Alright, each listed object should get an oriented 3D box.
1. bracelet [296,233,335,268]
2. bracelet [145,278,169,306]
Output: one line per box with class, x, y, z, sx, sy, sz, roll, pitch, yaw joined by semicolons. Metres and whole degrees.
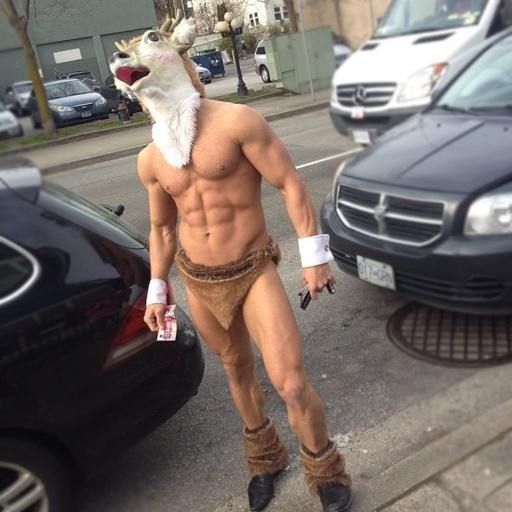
bracelet;0.211;-0.014;1.580;0.128;0.115;0.105;-16;6;-38
bracelet;-0.418;0.164;1.826;0.098;0.107;0.108;1;-13;-3
